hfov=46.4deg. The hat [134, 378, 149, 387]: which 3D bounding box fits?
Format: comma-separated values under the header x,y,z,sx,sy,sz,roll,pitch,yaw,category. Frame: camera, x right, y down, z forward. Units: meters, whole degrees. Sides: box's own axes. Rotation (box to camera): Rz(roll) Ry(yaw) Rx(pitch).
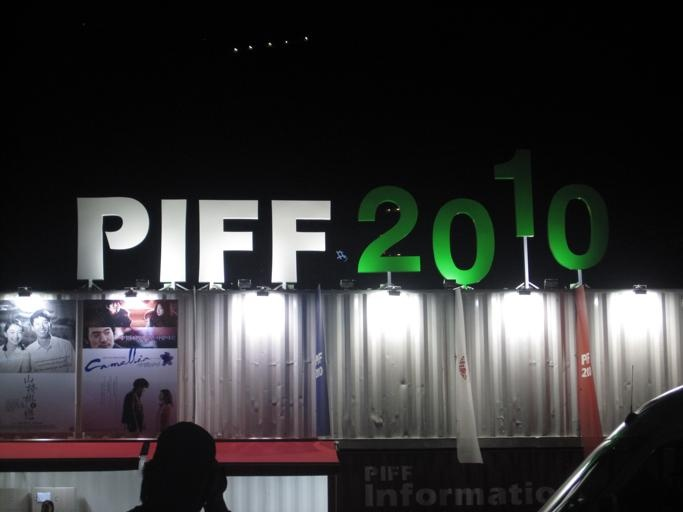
x,y,z,sx,sy,sz,roll,pitch,yaw,category
-4.177,2.623,16.635,0.222,0.202,0.180,-6,6,-25,hat
